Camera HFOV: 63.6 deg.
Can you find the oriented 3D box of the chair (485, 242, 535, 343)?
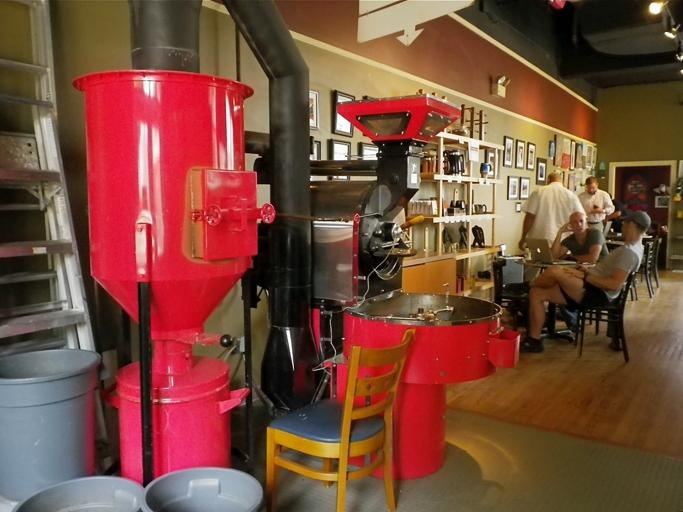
[{"bbox_3d":[1.866,0.380,5.939,0.456,0.712,0.515,2,14,25],"label":"chair"}]

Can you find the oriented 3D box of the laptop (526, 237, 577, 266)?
[{"bbox_3d":[2.171,-0.068,5.801,0.283,0.225,0.325,-4,5,-29],"label":"laptop"}]

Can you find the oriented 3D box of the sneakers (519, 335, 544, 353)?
[{"bbox_3d":[1.842,0.861,5.296,0.254,0.108,0.113,0,2,44],"label":"sneakers"}]

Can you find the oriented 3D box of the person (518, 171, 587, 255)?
[{"bbox_3d":[2.757,-0.276,7.233,0.767,1.515,0.405,2,14,0],"label":"person"}]

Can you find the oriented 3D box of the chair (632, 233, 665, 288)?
[{"bbox_3d":[4.912,0.156,9.044,0.674,0.855,0.683,-4,10,28],"label":"chair"}]

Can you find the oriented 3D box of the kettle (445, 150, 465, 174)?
[{"bbox_3d":[1.308,-1.038,6.198,0.368,0.259,0.146,-7,12,-39],"label":"kettle"}]

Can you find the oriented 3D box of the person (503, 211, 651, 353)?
[{"bbox_3d":[2.328,0.252,5.258,1.010,1.355,0.585,4,10,23],"label":"person"}]

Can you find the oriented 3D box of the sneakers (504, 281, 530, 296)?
[{"bbox_3d":[1.822,0.351,5.772,0.106,0.120,0.304,0,5,-24],"label":"sneakers"}]

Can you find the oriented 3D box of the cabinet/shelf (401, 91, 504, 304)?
[{"bbox_3d":[1.340,-0.539,6.228,0.868,2.338,3.119,3,10,19],"label":"cabinet/shelf"}]

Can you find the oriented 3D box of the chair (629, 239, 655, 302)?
[{"bbox_3d":[4.726,0.263,8.699,0.466,0.783,0.466,-9,-9,40],"label":"chair"}]

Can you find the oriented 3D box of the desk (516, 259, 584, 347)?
[{"bbox_3d":[2.187,0.518,5.525,0.747,0.875,0.531,1,10,2],"label":"desk"}]

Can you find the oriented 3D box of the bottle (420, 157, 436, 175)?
[{"bbox_3d":[0.923,-0.953,5.792,0.181,0.154,0.122,4,10,21],"label":"bottle"}]

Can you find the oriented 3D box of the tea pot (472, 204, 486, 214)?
[{"bbox_3d":[1.702,-0.567,6.782,0.103,0.108,0.165,-7,-9,25],"label":"tea pot"}]
